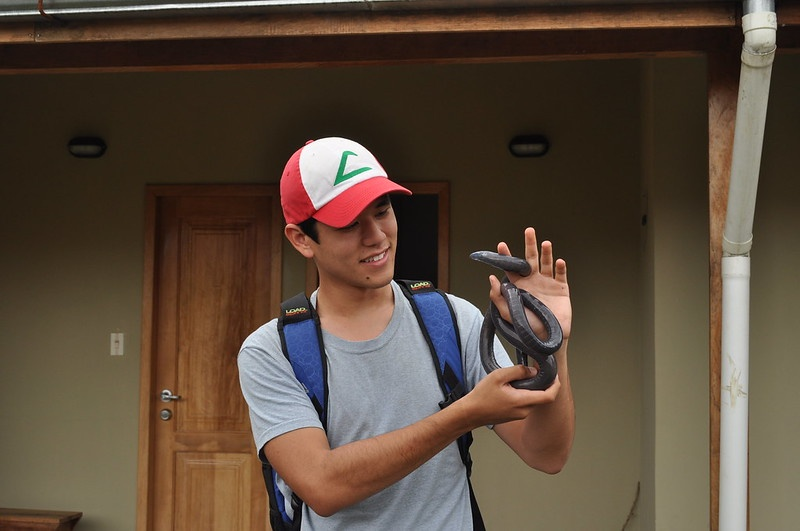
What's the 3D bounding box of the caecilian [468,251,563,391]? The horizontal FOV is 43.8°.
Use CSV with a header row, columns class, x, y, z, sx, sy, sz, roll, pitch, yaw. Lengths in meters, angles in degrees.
class,x,y,z,sx,sy,sz,roll,pitch,yaw
caecilian,0.582,0.306,5.034,0.421,0.816,0.183,-15,-41,3
